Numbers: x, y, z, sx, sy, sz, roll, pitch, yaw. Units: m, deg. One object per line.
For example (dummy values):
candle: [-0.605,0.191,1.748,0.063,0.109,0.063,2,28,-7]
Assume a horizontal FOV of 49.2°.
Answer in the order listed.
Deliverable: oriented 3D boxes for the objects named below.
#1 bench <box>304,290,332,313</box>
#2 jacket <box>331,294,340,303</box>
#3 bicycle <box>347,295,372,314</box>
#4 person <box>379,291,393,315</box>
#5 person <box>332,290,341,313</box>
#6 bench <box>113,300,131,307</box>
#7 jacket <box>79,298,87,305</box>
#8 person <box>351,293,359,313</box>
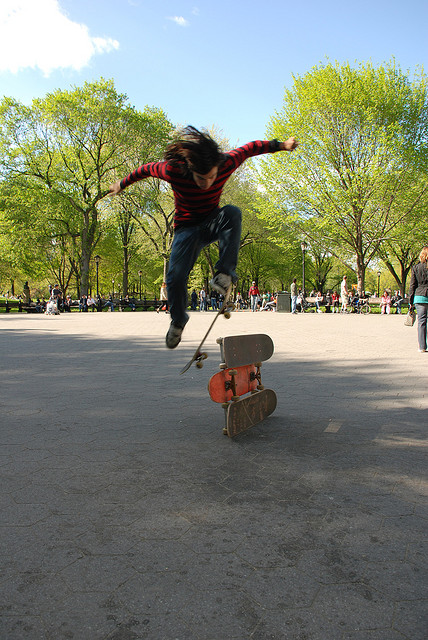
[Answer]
bench: [7.044,-1.219,31.753,1.575,1.362,4.872,1,2,12]
jacket: [7.829,-1.394,30.411,0.642,0.613,0.199,3,-7,0]
bicycle: [8.450,-0.777,27.007,1.521,1.000,0.774,3,3,14]
person: [9.713,-0.980,26.635,0.466,1.303,1.581,1,2,20]
person: [7.836,-1.193,30.415,0.409,1.381,3.200,1,2,15]
bench: [-6.784,-1.195,33.581,0.936,0.498,1.577,0,2,-2]
jacket: [-8.685,-1.248,31.058,0.447,0.418,0.862,0,2,-15]
person: [8.131,-1.004,27.212,0.395,1.135,1.206,1,2,15]
